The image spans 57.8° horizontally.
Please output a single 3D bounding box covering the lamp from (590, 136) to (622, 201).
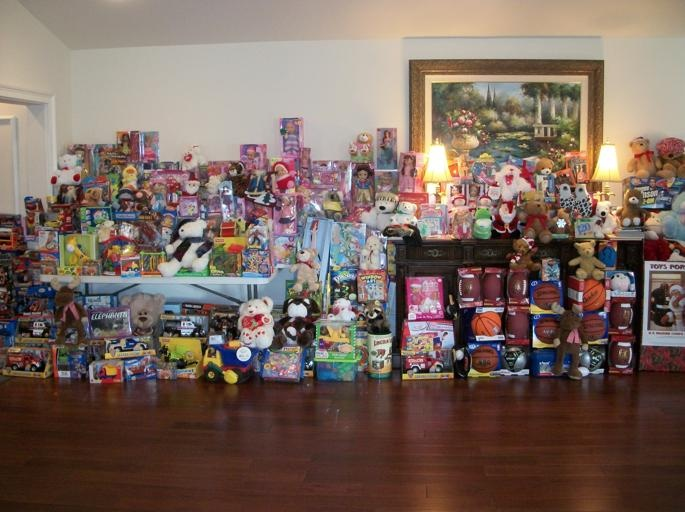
[{"bbox_3d":[2.375,-0.674,5.567,0.238,0.695,0.232,4,14,29],"label":"lamp"}]

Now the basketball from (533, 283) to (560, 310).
[{"bbox_3d":[1.703,0.350,5.253,0.227,0.229,0.217,-12,-25,34],"label":"basketball"}]

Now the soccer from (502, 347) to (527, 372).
[{"bbox_3d":[1.450,0.860,5.197,0.191,0.186,0.205,-1,-4,8],"label":"soccer"}]

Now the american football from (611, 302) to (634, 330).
[{"bbox_3d":[2.339,0.512,5.224,0.171,0.250,0.052,0,3,7],"label":"american football"}]

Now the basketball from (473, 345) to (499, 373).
[{"bbox_3d":[1.192,0.866,5.275,0.221,0.213,0.211,-4,-4,0],"label":"basketball"}]

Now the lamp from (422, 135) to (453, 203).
[{"bbox_3d":[0.868,-0.685,5.655,0.255,0.721,0.242,-25,32,-34],"label":"lamp"}]

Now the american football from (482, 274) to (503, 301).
[{"bbox_3d":[1.277,0.272,5.266,0.164,0.225,0.136,2,2,7],"label":"american football"}]

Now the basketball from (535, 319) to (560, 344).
[{"bbox_3d":[1.685,0.630,5.175,0.210,0.199,0.130,2,2,22],"label":"basketball"}]

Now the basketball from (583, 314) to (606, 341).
[{"bbox_3d":[2.100,0.581,5.197,0.215,0.247,0.213,-2,3,22],"label":"basketball"}]

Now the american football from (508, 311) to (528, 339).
[{"bbox_3d":[1.479,0.570,5.239,0.189,0.221,0.122,-4,1,2],"label":"american football"}]

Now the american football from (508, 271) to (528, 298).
[{"bbox_3d":[1.480,0.239,5.235,0.157,0.223,0.137,2,1,18],"label":"american football"}]

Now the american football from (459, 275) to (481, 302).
[{"bbox_3d":[1.082,0.274,5.265,0.177,0.237,0.043,0,3,3],"label":"american football"}]
